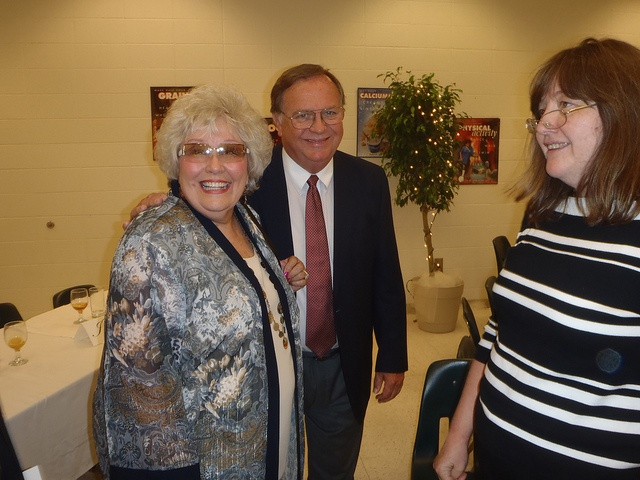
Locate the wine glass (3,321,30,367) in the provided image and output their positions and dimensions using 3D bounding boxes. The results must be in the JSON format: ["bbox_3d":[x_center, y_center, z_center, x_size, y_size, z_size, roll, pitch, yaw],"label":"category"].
[{"bbox_3d":[-1.605,0.555,2.654,0.110,0.237,0.117,-9,18,-22],"label":"wine glass"}]

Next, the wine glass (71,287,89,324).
[{"bbox_3d":[-1.523,0.417,3.195,0.107,0.211,0.110,0,11,-18],"label":"wine glass"}]

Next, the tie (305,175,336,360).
[{"bbox_3d":[-0.008,0.112,2.229,0.121,0.780,0.186,-2,9,-1],"label":"tie"}]
